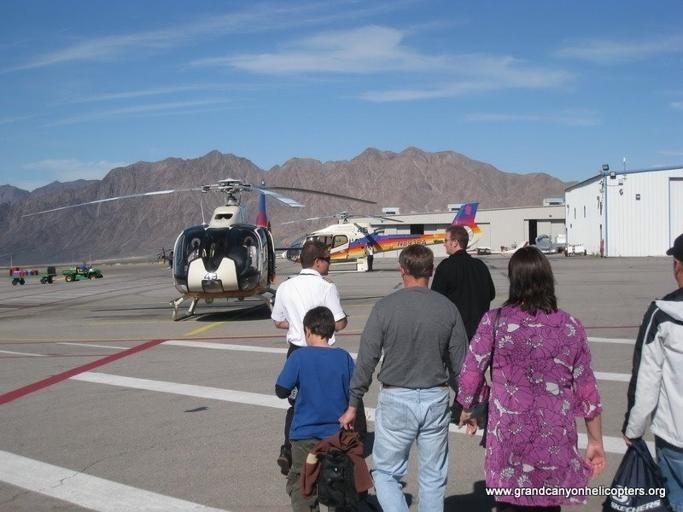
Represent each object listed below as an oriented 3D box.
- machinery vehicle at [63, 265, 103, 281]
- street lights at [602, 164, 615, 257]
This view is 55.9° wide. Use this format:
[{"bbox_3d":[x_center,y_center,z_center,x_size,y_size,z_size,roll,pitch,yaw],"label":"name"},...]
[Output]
[{"bbox_3d":[-15.689,1.124,37.718,2.275,1.003,1.312,-2,4,1],"label":"machinery vehicle"},{"bbox_3d":[19.996,-3.393,48.595,0.890,6.683,0.870,-5,4,-41],"label":"street lights"}]
